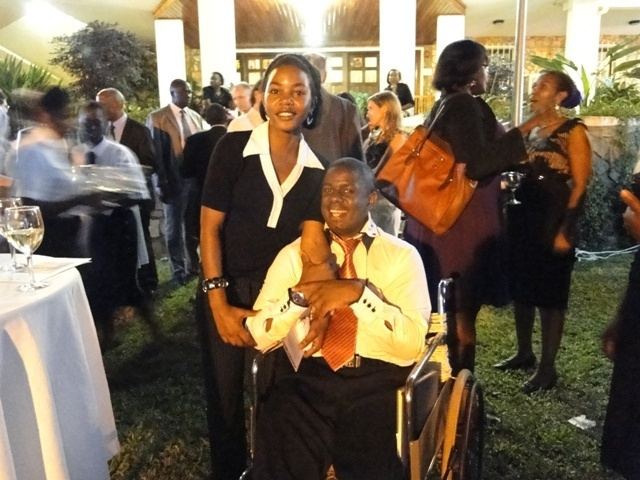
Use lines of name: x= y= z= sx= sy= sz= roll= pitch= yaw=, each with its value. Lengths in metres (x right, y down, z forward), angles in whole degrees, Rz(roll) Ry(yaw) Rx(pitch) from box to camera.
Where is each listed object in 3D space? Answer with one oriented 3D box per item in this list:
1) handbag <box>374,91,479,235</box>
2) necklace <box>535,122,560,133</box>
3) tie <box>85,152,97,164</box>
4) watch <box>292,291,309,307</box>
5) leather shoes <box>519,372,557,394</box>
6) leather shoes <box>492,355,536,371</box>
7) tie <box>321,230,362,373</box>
handbag: x=0.709 y=-0.508 z=2.913 sx=0.253 sy=0.808 sz=0.550 roll=-14 pitch=46 yaw=-38
necklace: x=1.573 y=-0.785 z=3.456 sx=0.142 sy=0.041 sz=0.145 roll=-14 pitch=-4 yaw=10
tie: x=-2.074 y=-0.749 z=4.523 sx=0.058 sy=0.118 sz=0.255 roll=-5 pitch=11 yaw=-16
watch: x=-0.097 y=0.272 z=2.272 sx=0.018 sy=0.069 sz=0.073 roll=-40 pitch=-7 yaw=-49
leather shoes: x=1.686 y=1.120 z=3.909 sx=0.322 sy=0.145 sz=0.112 roll=-1 pitch=-5 yaw=-12
leather shoes: x=1.620 y=1.033 z=4.217 sx=0.376 sy=0.159 sz=0.131 roll=1 pitch=-7 yaw=3
tie: x=0.119 y=0.409 z=2.495 sx=0.159 sy=0.017 sz=0.736 roll=4 pitch=22 yaw=8
